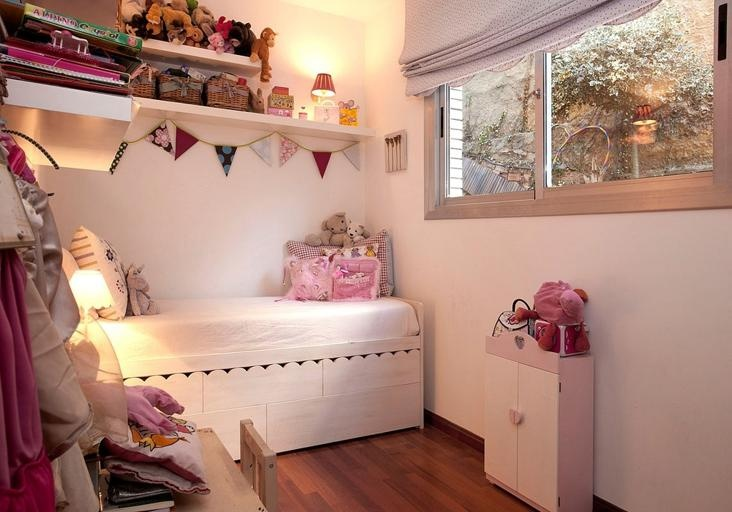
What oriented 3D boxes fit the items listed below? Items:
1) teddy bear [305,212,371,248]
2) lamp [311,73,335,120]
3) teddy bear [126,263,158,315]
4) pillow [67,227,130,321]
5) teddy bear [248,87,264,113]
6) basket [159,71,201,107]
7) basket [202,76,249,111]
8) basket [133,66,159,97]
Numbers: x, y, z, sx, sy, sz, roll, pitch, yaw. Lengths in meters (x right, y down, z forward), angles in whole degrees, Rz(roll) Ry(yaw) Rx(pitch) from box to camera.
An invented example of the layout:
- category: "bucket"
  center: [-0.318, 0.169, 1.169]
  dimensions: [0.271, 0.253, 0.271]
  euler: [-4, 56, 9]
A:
- category: "teddy bear"
  center: [-0.203, -0.186, 3.658]
  dimensions: [0.467, 0.299, 0.251]
  euler: [8, 17, -4]
- category: "lamp"
  center: [-0.308, -1.141, 3.587]
  dimensions: [0.188, 0.351, 0.178]
  euler: [-3, 7, -39]
- category: "teddy bear"
  center: [-1.218, 0.176, 2.678]
  dimensions: [0.129, 0.277, 0.163]
  euler: [-1, 7, 1]
- category: "pillow"
  center: [-1.449, 0.093, 2.680]
  dimensions: [0.223, 0.432, 0.636]
  euler: [-2, 5, -27]
- category: "teddy bear"
  center: [-0.761, -1.071, 3.409]
  dimensions: [0.089, 0.202, 0.274]
  euler: [-2, 6, -7]
- category: "basket"
  center: [-1.158, -1.032, 3.063]
  dimensions: [0.195, 0.121, 0.197]
  euler: [1, 4, 0]
- category: "basket"
  center: [-0.914, -1.015, 3.200]
  dimensions: [0.255, 0.164, 0.211]
  euler: [-1, 4, -34]
- category: "basket"
  center: [-1.396, -1.071, 3.025]
  dimensions: [0.126, 0.171, 0.171]
  euler: [30, 27, 22]
